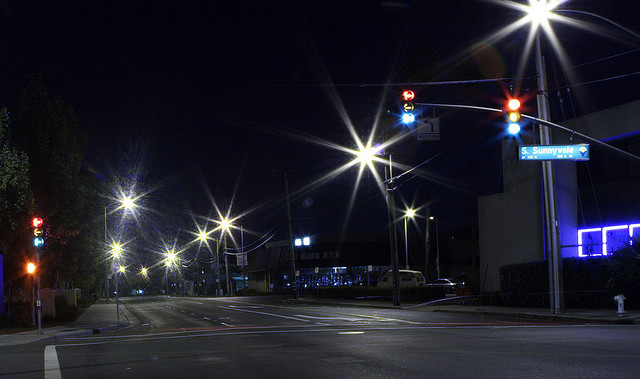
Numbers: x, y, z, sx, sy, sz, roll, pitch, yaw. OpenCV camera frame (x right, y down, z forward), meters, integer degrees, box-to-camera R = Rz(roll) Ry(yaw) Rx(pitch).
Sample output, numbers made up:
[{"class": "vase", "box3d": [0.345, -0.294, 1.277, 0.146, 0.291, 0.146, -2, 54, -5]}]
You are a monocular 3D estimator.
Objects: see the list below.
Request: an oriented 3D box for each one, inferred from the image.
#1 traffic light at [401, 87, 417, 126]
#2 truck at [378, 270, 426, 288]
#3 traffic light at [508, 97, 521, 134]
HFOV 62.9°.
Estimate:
[{"class": "traffic light", "box3d": [4.386, -4.143, 26.203, 0.608, 1.664, 0.646, -10, 13, -30]}, {"class": "truck", "box3d": [8.971, 9.131, 56.485, 4.461, 2.245, 2.737, 0, -14, 9]}, {"class": "traffic light", "box3d": [9.587, -3.696, 25.797, 0.752, 1.932, 0.504, -3, -14, -1]}]
